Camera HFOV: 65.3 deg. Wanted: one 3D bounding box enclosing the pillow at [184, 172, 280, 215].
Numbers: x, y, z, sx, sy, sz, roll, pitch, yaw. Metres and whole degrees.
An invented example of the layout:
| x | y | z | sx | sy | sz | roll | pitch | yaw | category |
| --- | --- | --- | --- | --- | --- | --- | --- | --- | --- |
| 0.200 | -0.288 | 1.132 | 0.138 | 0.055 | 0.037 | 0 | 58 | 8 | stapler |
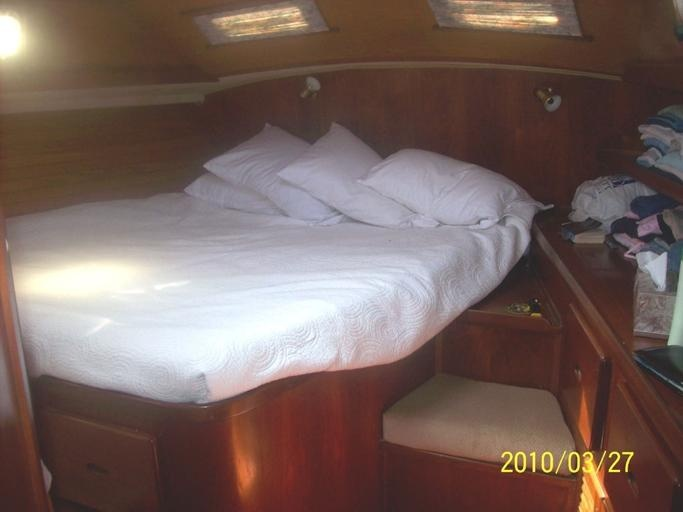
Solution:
| x | y | z | sx | sy | sz | roll | pitch | yaw | category |
| --- | --- | --- | --- | --- | --- | --- | --- | --- | --- |
| -0.584 | -0.382 | 2.803 | 0.413 | 0.087 | 0.257 | 25 | 42 | 31 | pillow |

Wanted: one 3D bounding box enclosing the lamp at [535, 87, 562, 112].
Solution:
| x | y | z | sx | sy | sz | roll | pitch | yaw | category |
| --- | --- | --- | --- | --- | --- | --- | --- | --- | --- |
| 1.020 | -0.768 | 2.598 | 0.071 | 0.085 | 0.119 | -28 | 38 | 10 | lamp |

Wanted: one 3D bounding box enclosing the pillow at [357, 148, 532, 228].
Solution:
| x | y | z | sx | sy | sz | roll | pitch | yaw | category |
| --- | --- | --- | --- | --- | --- | --- | --- | --- | --- |
| 0.450 | -0.328 | 2.446 | 0.552 | 0.157 | 0.414 | 24 | 29 | 15 | pillow |

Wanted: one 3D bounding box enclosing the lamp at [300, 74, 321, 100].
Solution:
| x | y | z | sx | sy | sz | roll | pitch | yaw | category |
| --- | --- | --- | --- | --- | --- | --- | --- | --- | --- |
| -0.180 | -0.973 | 3.065 | 0.128 | 0.124 | 0.067 | 3 | 13 | 14 | lamp |
